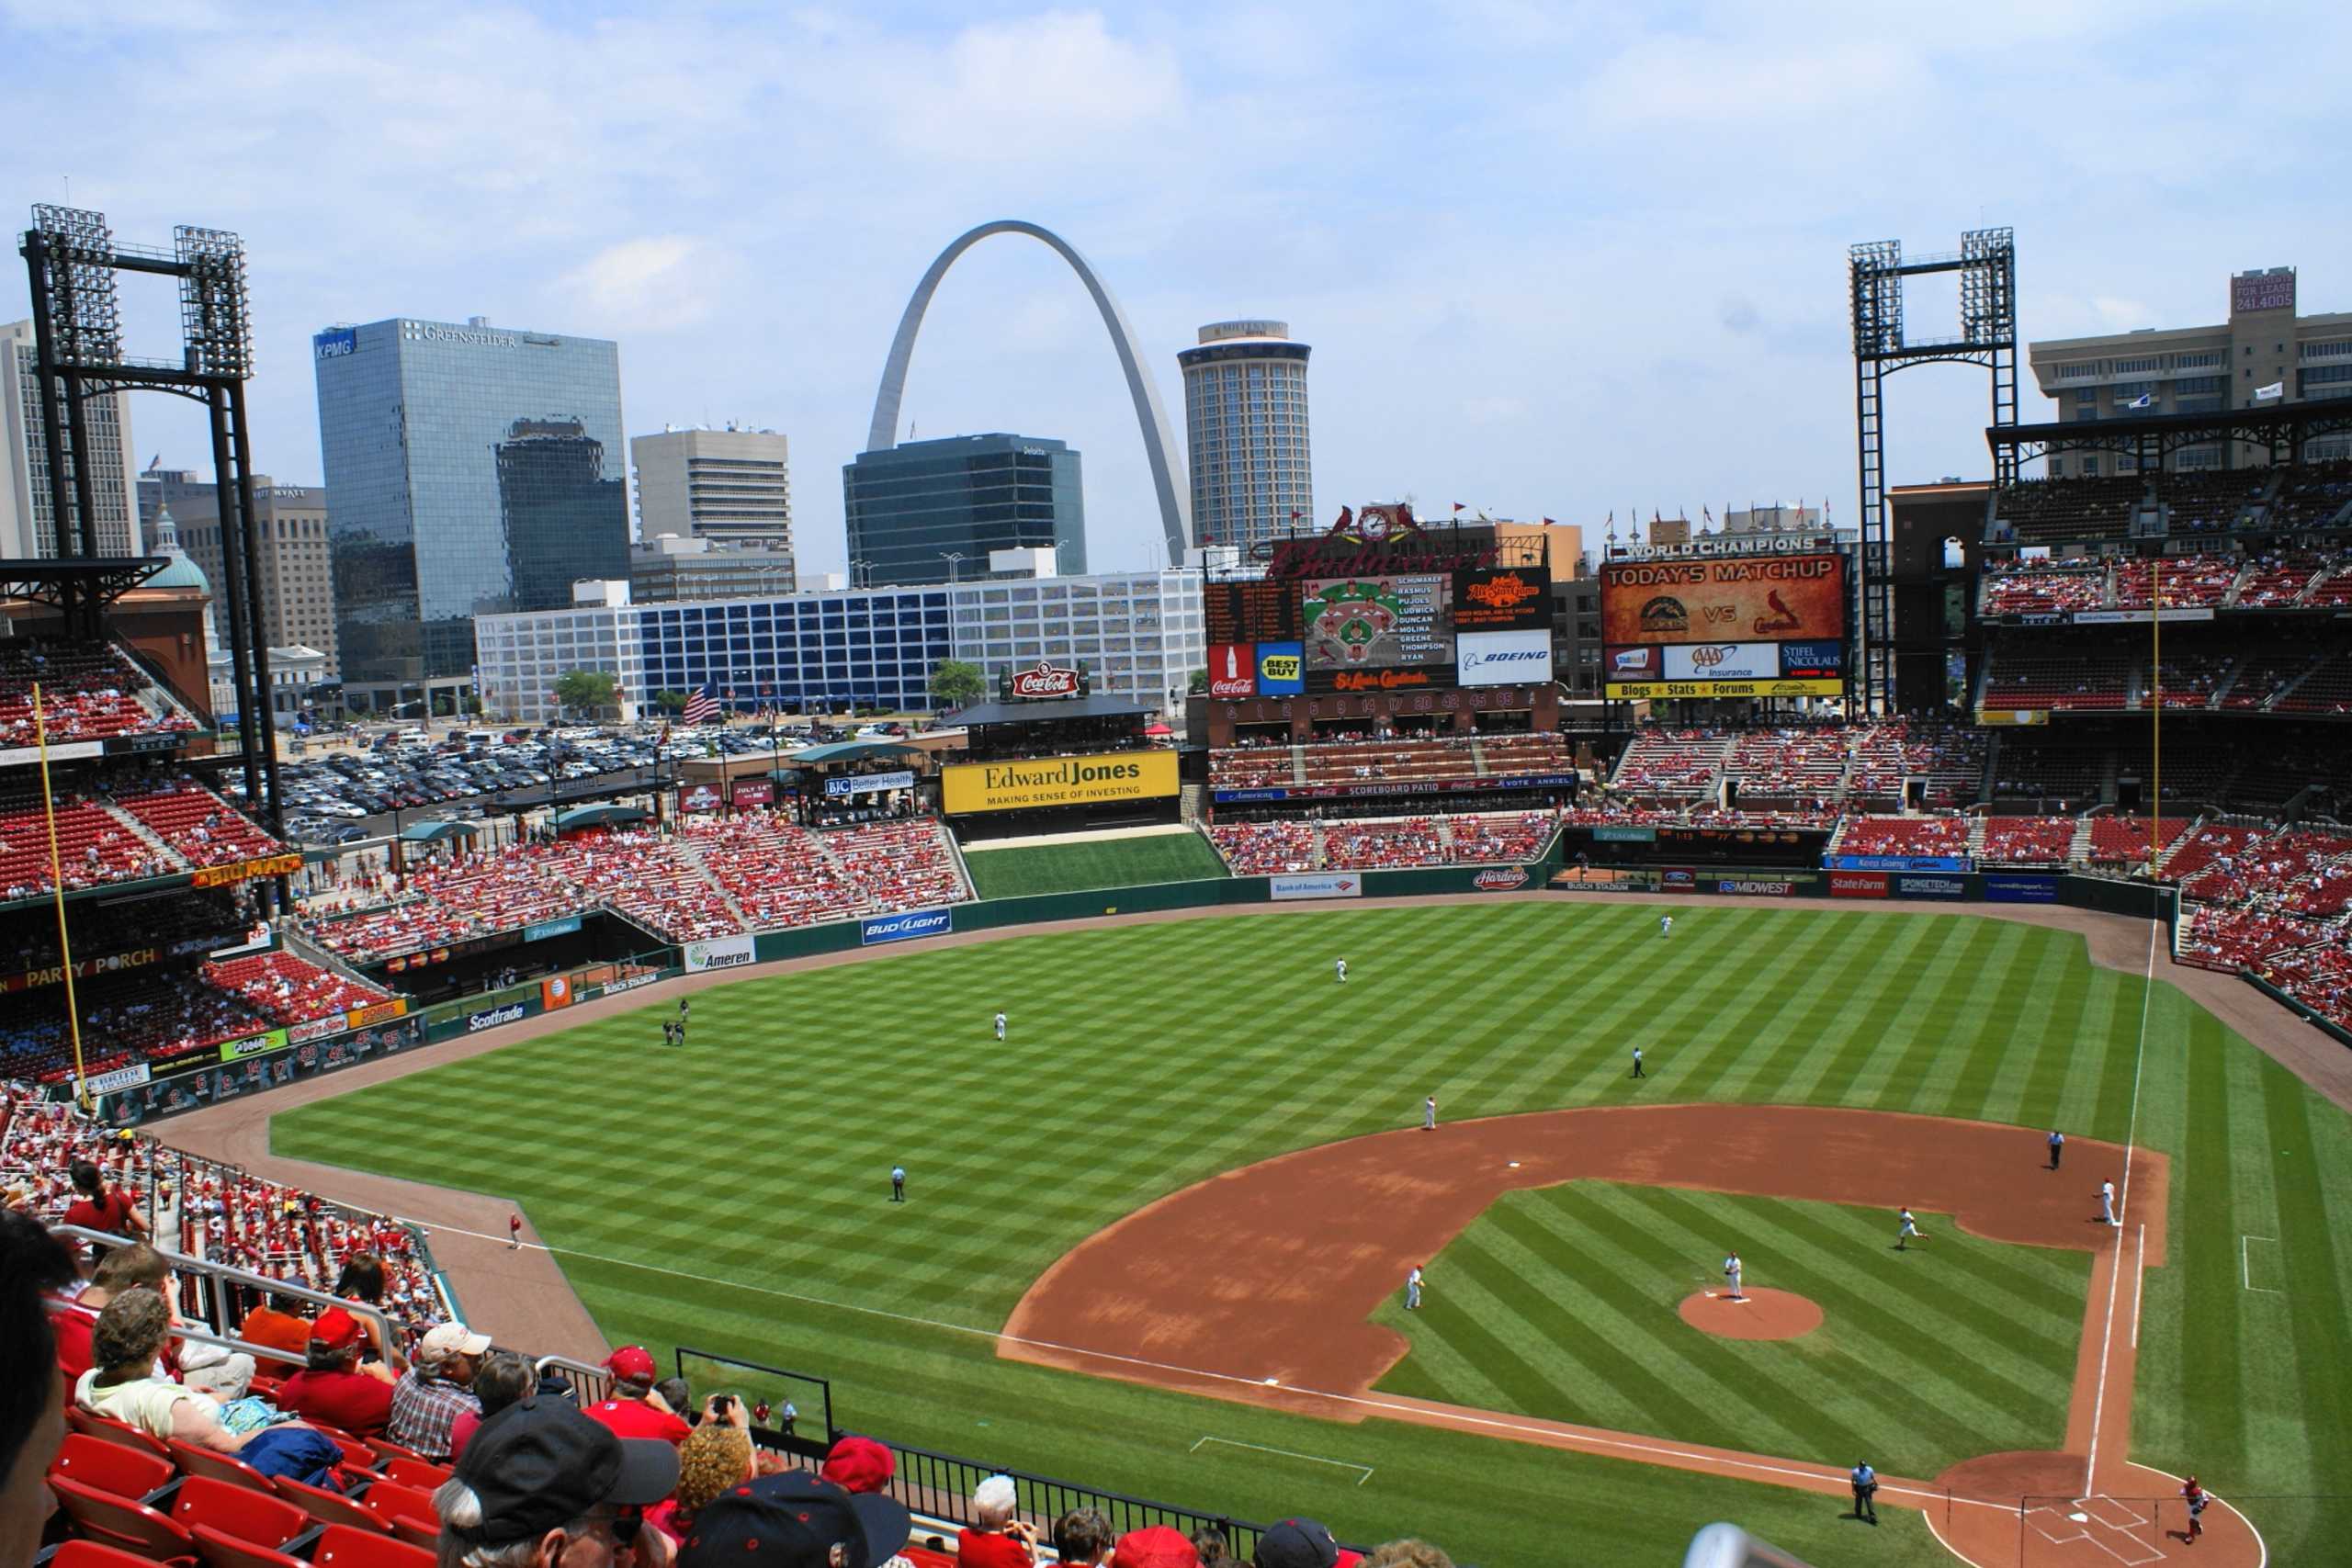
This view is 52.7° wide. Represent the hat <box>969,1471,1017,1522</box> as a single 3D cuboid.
[{"bbox_3d":[-3.300,13.261,43.928,1.003,0.876,1.029,-3,0,-2],"label":"hat"}]

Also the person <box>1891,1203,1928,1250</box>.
[{"bbox_3d":[21.020,12.879,67.985,1.105,0.659,1.984,-6,7,28],"label":"person"}]

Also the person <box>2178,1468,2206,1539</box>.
[{"bbox_3d":[24.673,17.392,57.169,0.572,1.320,1.634,1,6,22],"label":"person"}]

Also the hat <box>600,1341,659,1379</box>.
[{"bbox_3d":[-10.171,10.995,44.457,0.747,0.739,0.659,-4,7,-23],"label":"hat"}]

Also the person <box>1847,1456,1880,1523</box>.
[{"bbox_3d":[16.873,17.251,57.966,0.767,1.334,1.385,0,6,16],"label":"person"}]
